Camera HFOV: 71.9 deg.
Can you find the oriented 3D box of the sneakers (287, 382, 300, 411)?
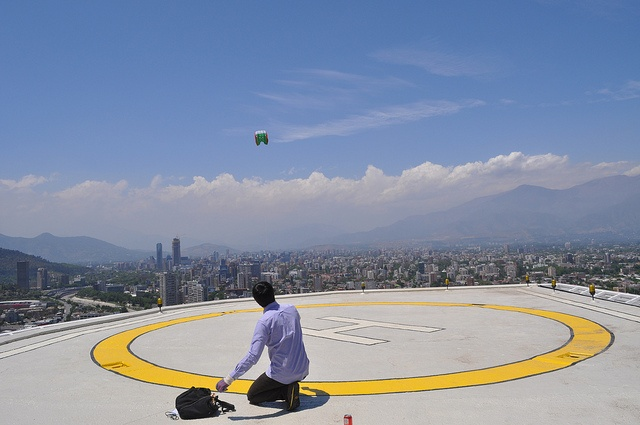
[{"bbox_3d":[-0.582,3.966,9.565,0.237,0.581,0.253,1,-4,-39],"label":"sneakers"}]

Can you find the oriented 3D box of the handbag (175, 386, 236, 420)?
[{"bbox_3d":[-2.476,4.083,9.314,0.853,0.350,0.674,1,-6,-7],"label":"handbag"}]
